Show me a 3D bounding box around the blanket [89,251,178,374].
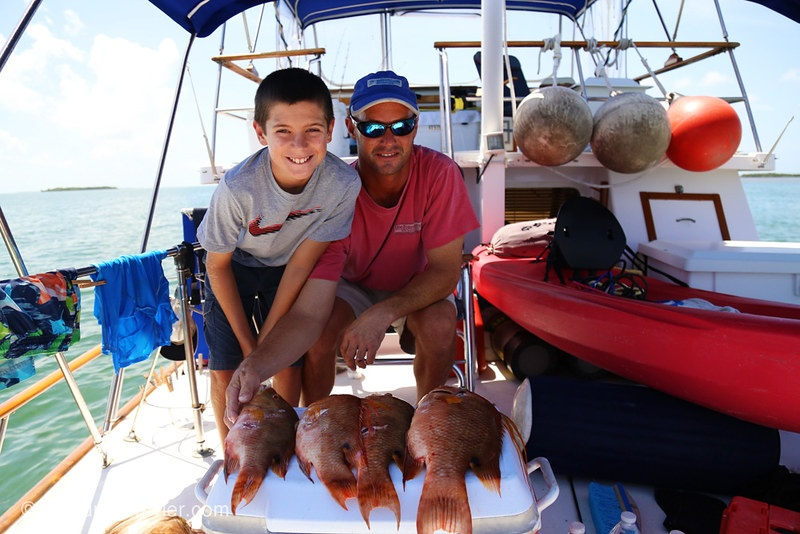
[{"bbox_3d":[-1.670,0.284,3.286,0.450,0.725,0.290,-9,12,-31],"label":"blanket"}]

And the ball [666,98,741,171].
[{"bbox_3d":[2.519,-1.007,4.355,0.535,0.739,0.575,-3,3,0],"label":"ball"}]

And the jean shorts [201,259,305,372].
[{"bbox_3d":[-0.802,0.258,2.858,0.479,0.664,0.236,8,-34,-23],"label":"jean shorts"}]

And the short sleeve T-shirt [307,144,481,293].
[{"bbox_3d":[-0.075,-0.173,3.575,1.189,0.812,1.260,4,-39,-10],"label":"short sleeve T-shirt"}]

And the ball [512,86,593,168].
[{"bbox_3d":[1.259,-1.127,4.325,0.601,0.770,0.636,1,-16,0],"label":"ball"}]

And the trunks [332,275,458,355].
[{"bbox_3d":[-0.161,0.260,3.274,0.541,0.182,0.523,17,17,9],"label":"trunks"}]

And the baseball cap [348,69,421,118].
[{"bbox_3d":[-0.075,-0.978,2.965,0.347,0.299,0.595,3,9,-1],"label":"baseball cap"}]
